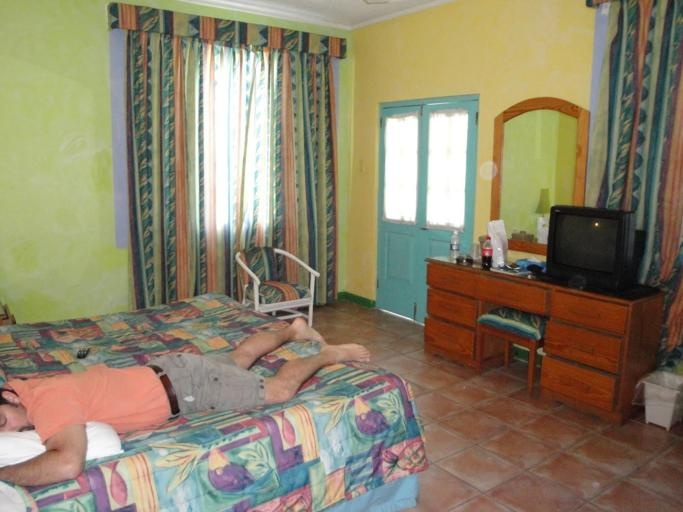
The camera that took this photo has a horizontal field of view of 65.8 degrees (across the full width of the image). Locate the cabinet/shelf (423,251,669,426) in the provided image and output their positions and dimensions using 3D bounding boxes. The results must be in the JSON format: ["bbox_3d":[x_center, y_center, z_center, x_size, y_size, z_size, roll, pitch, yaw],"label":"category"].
[{"bbox_3d":[1.658,0.622,4.739,0.680,0.988,1.950,-6,13,-39],"label":"cabinet/shelf"}]

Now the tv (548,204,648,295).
[{"bbox_3d":[1.960,-0.047,4.300,0.634,0.806,0.819,-2,5,-29],"label":"tv"}]

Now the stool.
[{"bbox_3d":[1.534,0.790,4.674,0.601,0.660,0.705,-6,11,-36],"label":"stool"}]

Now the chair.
[{"bbox_3d":[-0.746,0.362,5.683,0.785,0.846,0.777,7,11,42],"label":"chair"}]

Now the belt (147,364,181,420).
[{"bbox_3d":[-0.953,0.766,2.947,0.055,0.232,0.212,-13,26,-19],"label":"belt"}]
